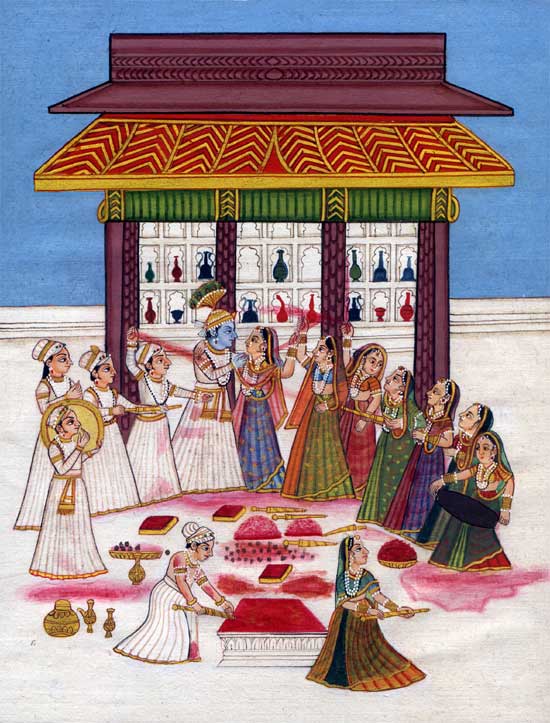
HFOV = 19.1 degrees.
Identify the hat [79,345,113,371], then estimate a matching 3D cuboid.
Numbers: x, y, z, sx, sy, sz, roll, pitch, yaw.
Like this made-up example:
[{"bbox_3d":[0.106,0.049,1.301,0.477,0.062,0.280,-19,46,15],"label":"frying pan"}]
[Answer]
[{"bbox_3d":[-0.974,-0.014,8.706,0.162,0.107,0.084,-32,-22,10],"label":"hat"}]
